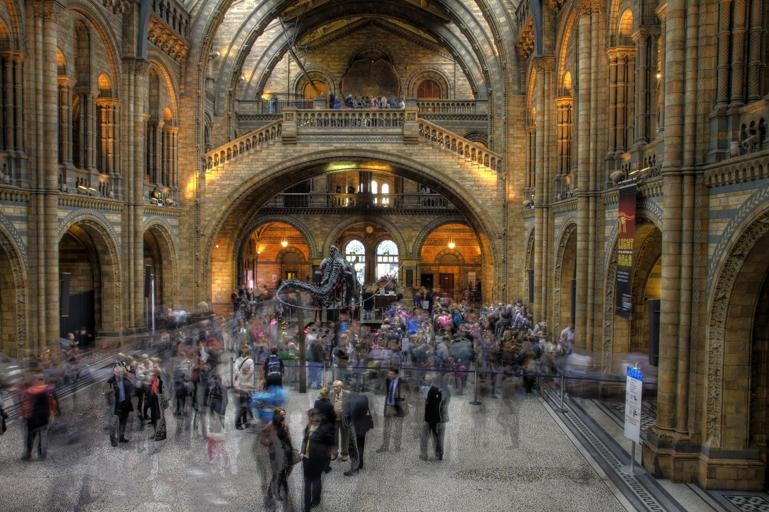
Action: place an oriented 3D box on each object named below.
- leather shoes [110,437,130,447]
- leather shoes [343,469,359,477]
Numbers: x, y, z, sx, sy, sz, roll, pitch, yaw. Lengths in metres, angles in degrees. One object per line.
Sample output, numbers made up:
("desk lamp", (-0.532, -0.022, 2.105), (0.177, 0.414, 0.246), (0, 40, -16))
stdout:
("leather shoes", (-7.015, 4.894, 19.343), (0.581, 0.258, 0.191), (-1, 11, -23))
("leather shoes", (-0.844, 5.313, 17.963), (0.356, 0.256, 0.133), (3, 2, 15))
